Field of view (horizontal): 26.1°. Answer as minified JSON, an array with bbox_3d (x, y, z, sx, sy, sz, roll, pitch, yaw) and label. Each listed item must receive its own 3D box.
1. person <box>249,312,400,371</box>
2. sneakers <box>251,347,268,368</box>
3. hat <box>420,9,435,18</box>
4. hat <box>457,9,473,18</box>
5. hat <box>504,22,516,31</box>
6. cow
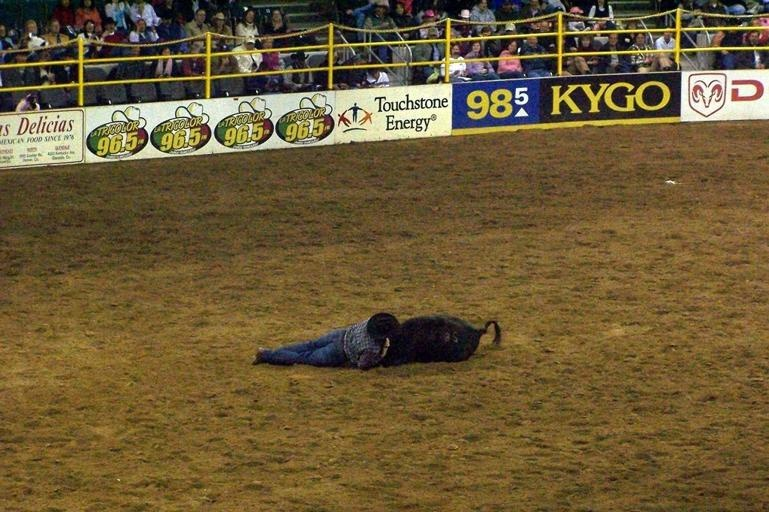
[{"bbox_3d":[-1.101,1.559,31.821,2.774,0.870,1.087,0,32,7],"label":"person"},{"bbox_3d":[-2.404,1.902,31.699,0.316,0.142,0.494,0,35,9],"label":"sneakers"},{"bbox_3d":[1.124,-6.284,43.322,0.432,0.174,0.442,0,4,1],"label":"hat"},{"bbox_3d":[2.140,-6.384,43.990,0.342,0.118,0.336,0,15,-6],"label":"hat"},{"bbox_3d":[3.200,-5.820,42.443,0.219,0.197,0.224,0,1,12],"label":"hat"},{"bbox_3d":[0.912,1.581,31.960,2.619,0.949,0.807,-5,45,-11],"label":"cow"}]
